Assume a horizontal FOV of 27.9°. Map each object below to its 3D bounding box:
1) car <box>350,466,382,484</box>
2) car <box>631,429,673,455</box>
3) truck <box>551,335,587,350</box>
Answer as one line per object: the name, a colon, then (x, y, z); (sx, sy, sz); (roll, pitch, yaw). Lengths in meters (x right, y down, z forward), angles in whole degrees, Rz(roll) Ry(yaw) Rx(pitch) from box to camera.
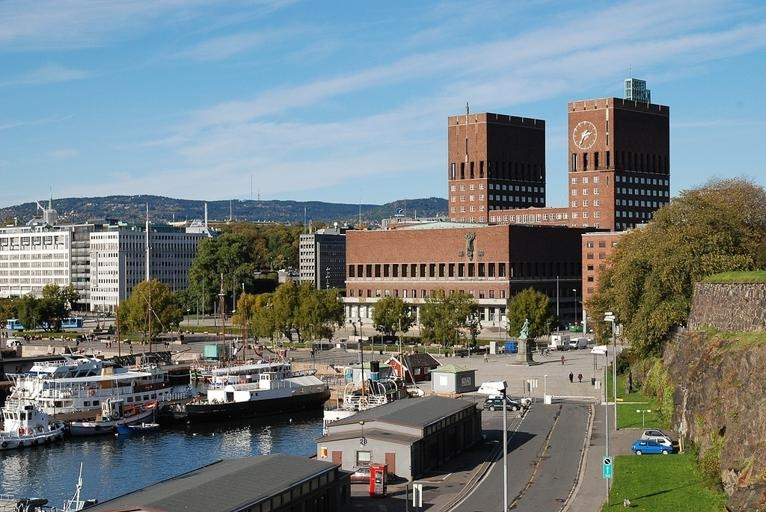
car: (-2.300, 24.334, 171.381); (1.934, 1.109, 3.396); (1, 3, 40)
car: (30.258, 21.047, 172.370); (4.295, 2.457, 2.010); (-3, -3, 10)
truck: (28.886, 13.809, 242.731); (5.910, 2.198, 2.396); (2, -3, -45)
